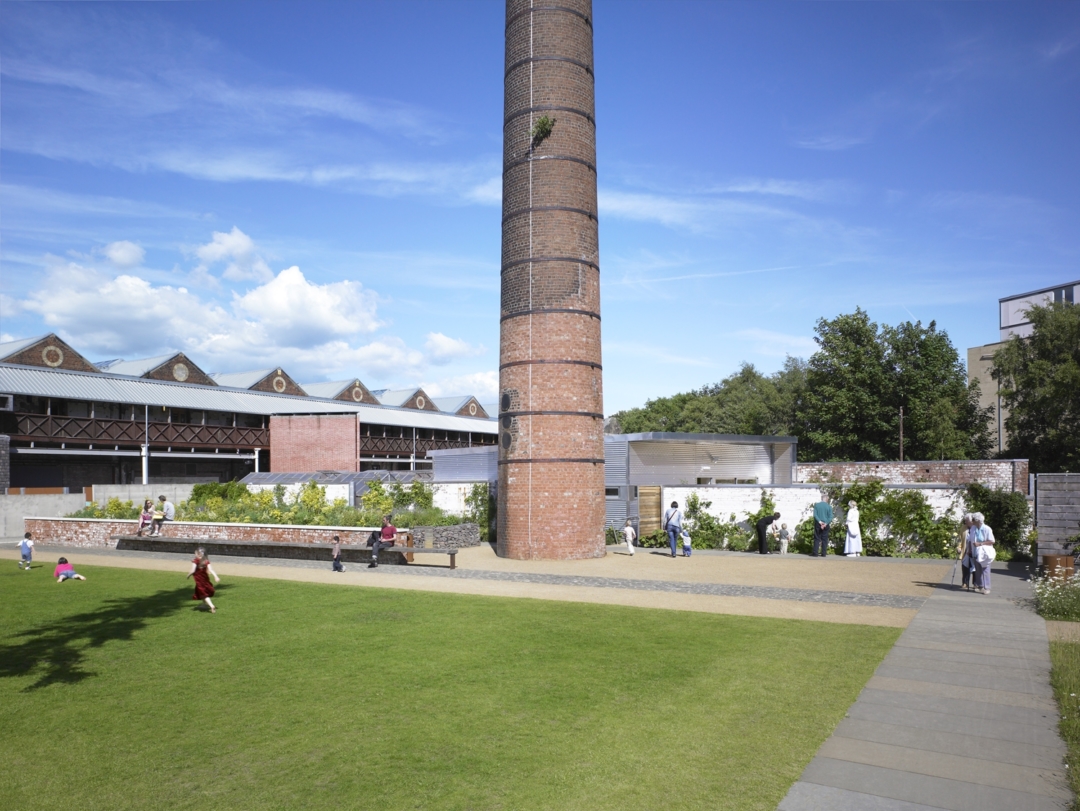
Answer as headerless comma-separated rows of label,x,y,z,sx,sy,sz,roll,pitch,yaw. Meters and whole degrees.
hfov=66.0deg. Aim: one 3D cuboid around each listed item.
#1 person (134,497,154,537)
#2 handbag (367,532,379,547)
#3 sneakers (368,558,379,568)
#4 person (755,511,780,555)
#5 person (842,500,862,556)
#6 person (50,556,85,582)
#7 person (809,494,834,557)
person,-14.550,4.041,30.424,0.581,1.290,2.039,-2,1,-26
handbag,-4.903,3.961,24.324,0.158,0.376,0.385,8,-1,-3
sneakers,-4.901,4.618,24.200,0.304,0.295,0.180,-2,1,5
person,7.246,4.113,26.708,0.679,1.251,1.041,0,2,34
person,9.545,3.765,25.178,0.511,1.623,0.754,0,2,21
person,-12.668,4.352,22.144,0.690,0.484,1.159,0,2,-30
person,8.733,3.721,25.510,0.602,1.882,1.296,0,2,19
